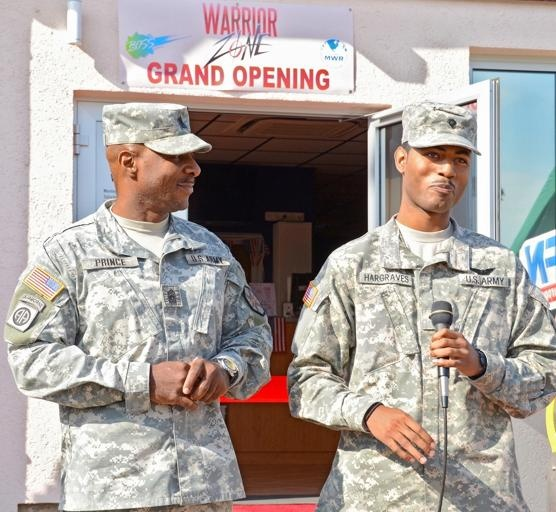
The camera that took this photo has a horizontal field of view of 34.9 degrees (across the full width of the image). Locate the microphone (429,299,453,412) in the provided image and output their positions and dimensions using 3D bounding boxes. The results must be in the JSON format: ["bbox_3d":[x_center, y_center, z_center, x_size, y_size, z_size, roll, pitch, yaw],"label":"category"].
[{"bbox_3d":[0.479,0.299,2.621,0.067,0.330,0.175,2,7,10],"label":"microphone"}]

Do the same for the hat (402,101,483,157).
[{"bbox_3d":[0.530,-0.404,2.853,0.173,0.116,0.221,7,-4,-15],"label":"hat"}]

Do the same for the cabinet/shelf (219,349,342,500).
[{"bbox_3d":[0.033,1.378,6.453,1.110,0.605,1.007,0,-9,-7],"label":"cabinet/shelf"}]

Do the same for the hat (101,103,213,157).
[{"bbox_3d":[-0.415,-0.393,2.970,0.281,0.130,0.203,0,1,21],"label":"hat"}]
